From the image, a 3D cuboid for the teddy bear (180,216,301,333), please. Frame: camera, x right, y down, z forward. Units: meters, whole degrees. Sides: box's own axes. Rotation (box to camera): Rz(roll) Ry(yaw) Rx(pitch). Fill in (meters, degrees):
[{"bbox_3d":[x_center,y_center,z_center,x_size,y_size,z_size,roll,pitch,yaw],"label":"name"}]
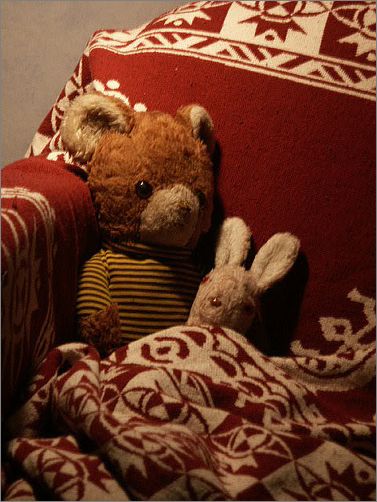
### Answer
[{"bbox_3d":[0.079,0.031,0.798,0.124,0.184,0.071,25,17,11],"label":"teddy bear"}]
